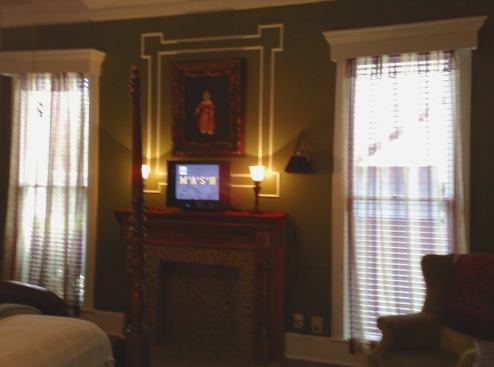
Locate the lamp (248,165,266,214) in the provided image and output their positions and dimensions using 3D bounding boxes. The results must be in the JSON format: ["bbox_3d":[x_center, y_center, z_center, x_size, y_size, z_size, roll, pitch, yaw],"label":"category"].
[{"bbox_3d":[0.083,0.054,4.651,0.135,0.441,0.235,3,-4,0],"label":"lamp"}]

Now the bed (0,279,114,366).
[{"bbox_3d":[-1.315,1.004,3.525,0.604,0.389,0.615,5,-7,-3],"label":"bed"}]

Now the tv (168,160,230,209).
[{"bbox_3d":[-0.448,0.003,4.737,0.606,0.459,0.063,0,0,10],"label":"tv"}]

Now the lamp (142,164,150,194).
[{"bbox_3d":[-0.993,-0.052,5.026,0.063,0.281,0.150,3,-4,-8],"label":"lamp"}]

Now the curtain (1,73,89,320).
[{"bbox_3d":[-2.078,0.113,5.234,0.896,2.450,0.257,2,-4,4],"label":"curtain"}]

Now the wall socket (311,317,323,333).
[{"bbox_3d":[0.640,1.279,4.685,0.144,0.171,0.023,0,-2,16],"label":"wall socket"}]
